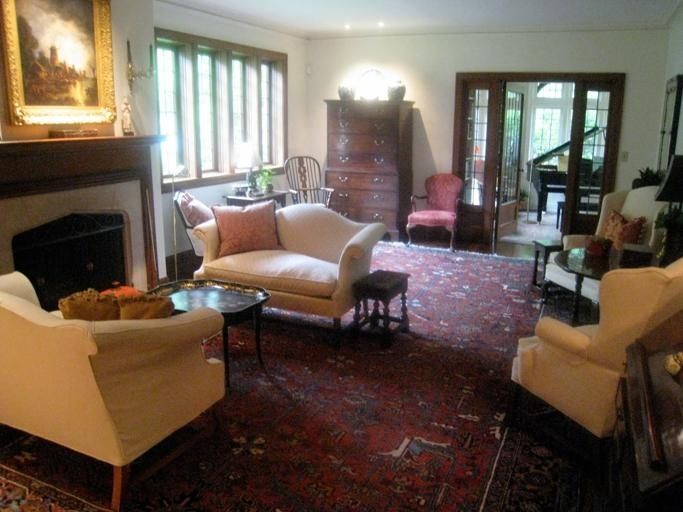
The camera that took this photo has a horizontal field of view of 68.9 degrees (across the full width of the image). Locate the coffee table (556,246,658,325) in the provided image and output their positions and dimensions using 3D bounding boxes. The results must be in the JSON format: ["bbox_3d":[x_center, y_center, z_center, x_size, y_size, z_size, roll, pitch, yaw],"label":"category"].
[{"bbox_3d":[2.192,0.142,4.279,0.703,0.545,0.720,-1,17,3],"label":"coffee table"}]

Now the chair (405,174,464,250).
[{"bbox_3d":[1.365,-0.673,7.255,0.741,0.990,0.934,3,17,14],"label":"chair"}]

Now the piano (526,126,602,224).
[{"bbox_3d":[3.817,-1.386,8.585,1.478,1.673,1.168,-5,9,-38],"label":"piano"}]

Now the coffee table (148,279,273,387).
[{"bbox_3d":[-0.903,0.543,3.730,0.619,0.524,0.819,26,-30,-31],"label":"coffee table"}]

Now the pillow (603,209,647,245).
[{"bbox_3d":[2.771,-0.271,4.846,0.348,0.266,0.561,3,17,15],"label":"pillow"}]

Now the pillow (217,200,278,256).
[{"bbox_3d":[-0.886,-0.237,4.729,0.579,0.472,0.221,-8,13,-23],"label":"pillow"}]
